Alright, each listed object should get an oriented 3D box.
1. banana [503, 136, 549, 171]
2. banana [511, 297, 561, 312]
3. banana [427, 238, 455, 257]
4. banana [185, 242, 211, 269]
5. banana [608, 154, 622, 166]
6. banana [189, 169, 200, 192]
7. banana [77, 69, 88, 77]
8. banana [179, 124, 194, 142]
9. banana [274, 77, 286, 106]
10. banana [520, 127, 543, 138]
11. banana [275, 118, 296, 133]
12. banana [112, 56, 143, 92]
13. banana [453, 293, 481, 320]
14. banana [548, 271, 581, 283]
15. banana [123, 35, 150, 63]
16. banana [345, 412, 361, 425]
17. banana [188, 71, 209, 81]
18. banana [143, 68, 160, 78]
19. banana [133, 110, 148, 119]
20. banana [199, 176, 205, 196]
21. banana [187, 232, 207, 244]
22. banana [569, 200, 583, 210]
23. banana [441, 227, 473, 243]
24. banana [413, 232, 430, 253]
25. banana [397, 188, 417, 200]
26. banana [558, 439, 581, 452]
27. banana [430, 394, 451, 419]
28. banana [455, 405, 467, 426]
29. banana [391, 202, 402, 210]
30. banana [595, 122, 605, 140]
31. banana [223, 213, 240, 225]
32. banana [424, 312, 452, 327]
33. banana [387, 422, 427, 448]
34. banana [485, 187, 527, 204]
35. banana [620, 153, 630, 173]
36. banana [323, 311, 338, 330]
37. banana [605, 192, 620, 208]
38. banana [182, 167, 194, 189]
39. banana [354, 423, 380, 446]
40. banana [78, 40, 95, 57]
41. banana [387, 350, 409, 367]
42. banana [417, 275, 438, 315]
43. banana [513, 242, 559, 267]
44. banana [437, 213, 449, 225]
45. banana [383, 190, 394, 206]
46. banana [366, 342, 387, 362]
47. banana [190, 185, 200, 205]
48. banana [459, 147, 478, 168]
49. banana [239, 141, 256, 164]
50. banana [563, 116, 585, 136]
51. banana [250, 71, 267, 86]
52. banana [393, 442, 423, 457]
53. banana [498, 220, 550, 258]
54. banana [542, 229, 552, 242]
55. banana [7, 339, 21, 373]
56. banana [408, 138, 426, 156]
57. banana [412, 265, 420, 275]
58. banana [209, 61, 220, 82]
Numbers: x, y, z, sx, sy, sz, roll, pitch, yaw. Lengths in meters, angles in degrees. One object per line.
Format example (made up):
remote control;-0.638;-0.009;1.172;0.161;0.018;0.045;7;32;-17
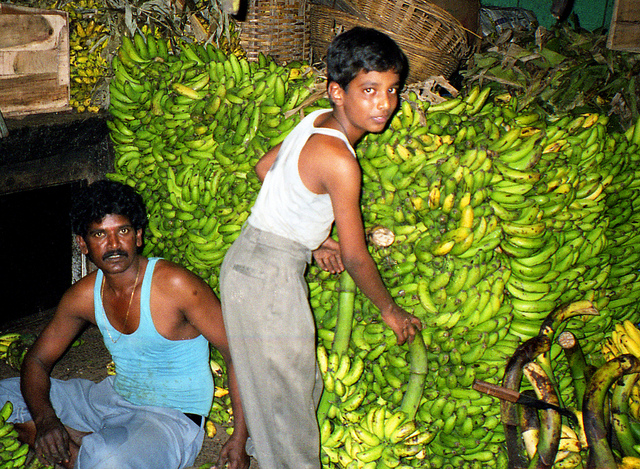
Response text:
banana;1.329;-0.529;3.810;0.059;0.239;0.085;38;3;-8
banana;1.407;0.459;3.840;0.264;0.052;0.088;2;52;4
banana;0.781;0.081;3.761;0.196;0.063;0.058;-23;-5;14
banana;-0.926;0.153;4.484;0.075;0.057;0.208;-28;77;-36
banana;2.121;-0.547;4.210;0.040;0.145;0.047;25;-19;22
banana;-0.945;-0.417;4.465;0.051;0.183;0.061;21;2;26
banana;-2.106;-1.445;5.186;0.105;0.031;0.037;31;-20;-38
banana;-1.003;-0.800;4.485;0.049;0.177;0.059;44;8;22
banana;-0.287;-1.026;4.153;0.084;0.167;0.056;1;1;8
banana;1.422;-0.699;3.962;0.212;0.055;0.075;-8;-15;-17
banana;-0.250;-0.776;4.129;0.058;0.051;0.176;24;-41;-40
banana;-1.599;-1.357;4.901;0.348;0.071;0.120;47;50;0
banana;0.946;0.460;3.770;0.050;0.181;0.060;41;9;10
banana;1.607;0.272;3.863;0.226;0.073;0.059;-17;21;-23
banana;-1.541;-1.566;4.919;0.102;0.290;0.062;-45;19;-24
banana;0.214;1.239;3.927;0.109;0.056;0.035;19;-1;-2
banana;-0.936;-1.235;4.533;0.171;0.084;0.088;20;17;40
banana;-1.368;-1.326;4.753;0.209;0.057;0.062;21;-25;48
banana;-1.473;-0.993;4.797;0.151;0.078;0.037;19;16;38
banana;-0.895;-0.369;4.429;0.043;0.136;0.040;-1;13;-1
banana;-0.950;0.029;4.530;0.216;0.075;0.060;16;38;32
banana;1.737;-0.205;3.968;0.111;0.059;0.048;4;14;-22
banana;0.858;0.000;3.762;0.066;0.073;0.228;-14;-10;-44
banana;0.659;0.029;3.883;0.062;0.182;0.048;27;1;1
banana;0.569;-0.272;3.836;0.056;0.033;0.100;-10;-2;-19
banana;1.585;1.340;3.706;0.142;0.071;0.038;8;13;-2
banana;0.773;1.128;3.843;0.092;0.174;0.056;36;21;-7
banana;0.916;1.177;3.805;0.043;0.154;0.051;17;7;22
banana;0.516;-0.192;3.921;0.024;0.041;0.076;15;-9;-35
banana;1.987;-0.749;4.163;0.062;0.105;0.034;-13;12;-11
banana;-0.646;-0.118;4.304;0.118;0.096;0.024;16;14;28
banana;0.762;0.544;3.807;0.170;0.119;0.041;11;13;10
banana;0.541;1.292;3.743;0.215;0.050;0.075;-32;11;10
banana;1.192;-0.256;3.747;0.242;0.048;0.081;7;13;9
banana;2.257;-0.542;4.325;0.046;0.194;0.066;9;-10;0
banana;0.062;0.613;4.167;0.033;0.119;0.096;32;-14;-39
banana;2.106;-0.252;4.261;0.073;0.048;0.145;21;-26;-1
banana;-0.998;-0.439;4.497;0.048;0.171;0.062;22;-2;14
banana;0.301;1.328;3.828;0.186;0.096;0.062;13;13;18
banana;-2.061;-1.654;5.168;0.127;0.153;0.039;4;13;-19
banana;0.515;0.853;3.945;0.045;0.081;0.161;46;-13;-32
banana;0.689;0.399;3.868;0.092;0.273;0.076;-19;-11;4
banana;1.384;0.121;3.798;0.210;0.047;0.074;-26;45;-2
banana;0.790;-0.104;3.774;0.053;0.065;0.037;4;-30;13
banana;0.458;-0.256;3.920;0.054;0.101;0.034;10;25;9
banana;0.375;0.801;4.009;0.063;0.195;0.064;42;21;-17
banana;-0.944;-0.299;4.427;0.046;0.151;0.060;4;13;6
banana;0.943;-0.503;3.754;0.105;0.125;0.076;8;13;-2
banana;-0.525;-0.603;4.245;0.048;0.177;0.062;21;12;-6
banana;1.818;-0.804;4.199;0.082;0.081;0.273;24;40;34
banana;-0.468;-1.192;4.400;0.109;0.103;0.074;5;13;-17
banana;0.554;1.375;3.725;0.178;0.093;0.064;10;13;6
banana;1.293;0.027;3.755;0.297;0.226;0.088;-3;3;1
banana;1.464;0.007;3.809;0.043;0.077;0.025;17;27;-28
banana;-2.479;0.974;4.715;0.063;0.213;0.168;-1;8;-18
banana;0.627;-0.593;3.886;0.136;0.072;0.047;48;-13;-29
banana;0.638;0.232;3.904;0.041;0.050;0.025;-10;-16;26
banana;-0.811;-1.251;4.462;0.070;0.202;0.055;7;21;26
